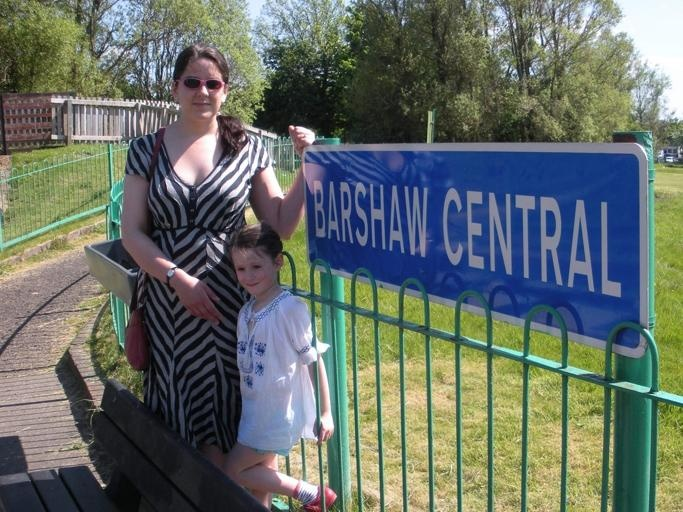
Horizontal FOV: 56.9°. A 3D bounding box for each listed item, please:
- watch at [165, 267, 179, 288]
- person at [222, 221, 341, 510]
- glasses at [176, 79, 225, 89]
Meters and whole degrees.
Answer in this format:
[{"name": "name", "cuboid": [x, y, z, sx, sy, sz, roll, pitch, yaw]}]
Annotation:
[{"name": "watch", "cuboid": [-0.745, 0.092, 2.839, 0.045, 0.073, 0.081, 29, 60, 10]}, {"name": "person", "cuboid": [-0.278, 0.599, 2.953, 0.499, 1.463, 0.270, 1, 11, -13]}, {"name": "glasses", "cuboid": [-0.640, -0.795, 2.924, 0.175, 0.051, 0.055, -1, 14, -23]}]
